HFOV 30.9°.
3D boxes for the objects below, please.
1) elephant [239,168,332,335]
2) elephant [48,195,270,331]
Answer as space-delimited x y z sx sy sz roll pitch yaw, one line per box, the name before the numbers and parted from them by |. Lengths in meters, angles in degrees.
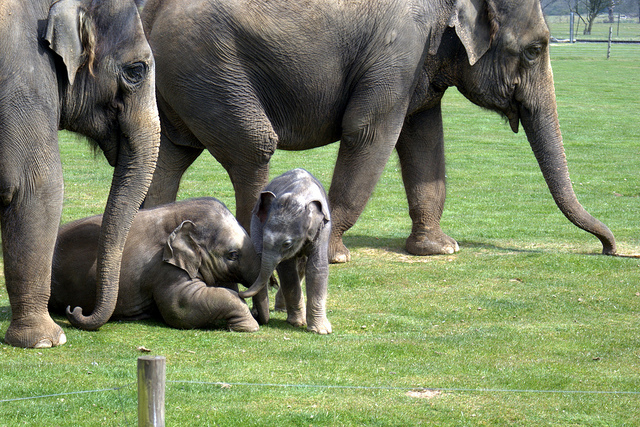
elephant | -0.182 0.300 9.840 0.587 1.202 1.386 2 15 7
elephant | -1.353 0.507 9.818 1.957 1.073 0.769 1 2 8
